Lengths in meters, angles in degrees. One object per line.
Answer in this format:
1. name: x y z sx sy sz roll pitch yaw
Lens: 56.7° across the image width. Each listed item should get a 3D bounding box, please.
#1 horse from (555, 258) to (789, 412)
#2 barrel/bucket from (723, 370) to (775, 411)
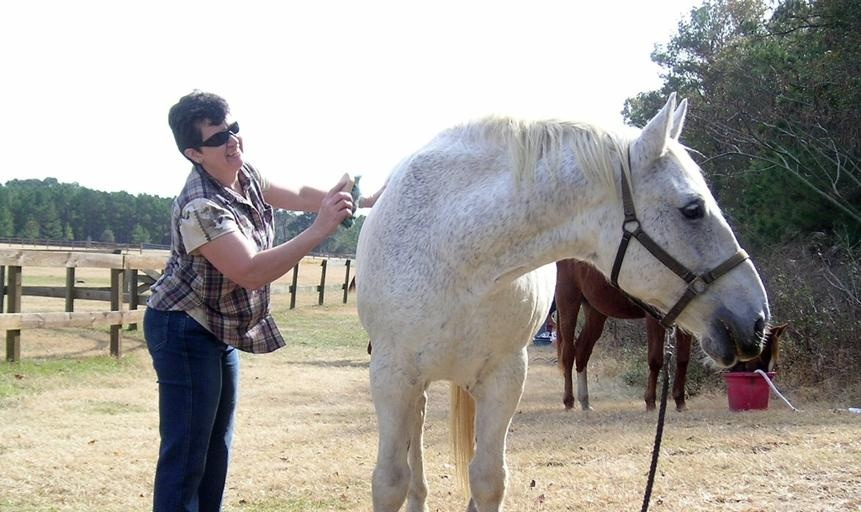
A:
1. horse: 3.991 1.079 14.181 1.055 3.531 4.317 -5 0 -45
2. barrel/bucket: 5.689 2.360 14.445 0.709 0.609 0.689 2 -2 0
